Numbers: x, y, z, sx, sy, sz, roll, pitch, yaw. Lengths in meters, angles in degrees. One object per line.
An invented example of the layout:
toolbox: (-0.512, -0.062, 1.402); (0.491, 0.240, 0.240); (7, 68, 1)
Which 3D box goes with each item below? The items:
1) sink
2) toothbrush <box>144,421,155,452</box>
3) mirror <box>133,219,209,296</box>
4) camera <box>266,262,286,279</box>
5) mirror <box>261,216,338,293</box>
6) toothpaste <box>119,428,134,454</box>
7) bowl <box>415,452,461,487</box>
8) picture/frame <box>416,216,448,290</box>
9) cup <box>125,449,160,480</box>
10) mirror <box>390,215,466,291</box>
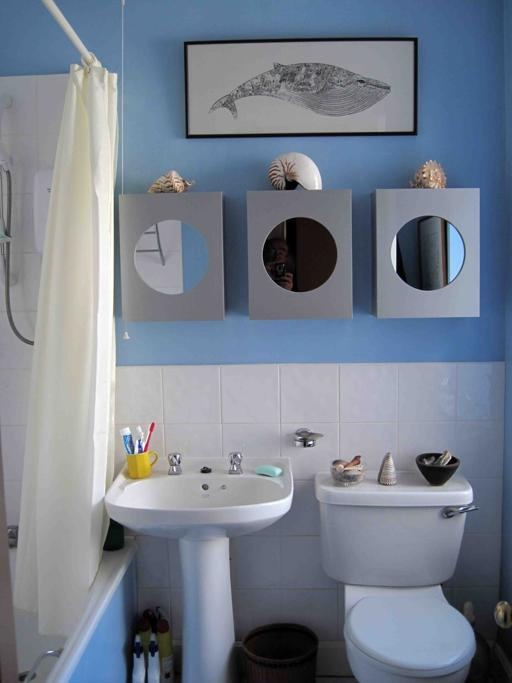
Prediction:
sink: (-0.160, 0.474, 1.858); (0.533, 0.181, 0.415); (-2, 1, 0)
toothbrush: (-0.339, 0.311, 2.022); (0.028, 0.094, 0.151); (-1, 0, -6)
mirror: (-0.255, -0.244, 1.878); (0.190, 0.232, 0.051); (6, 12, 13)
camera: (0.061, -0.208, 1.865); (0.063, 0.069, 0.038); (2, 14, 8)
mirror: (0.130, -0.254, 1.866); (0.214, 0.261, 0.007); (2, -25, 2)
toothpaste: (-0.397, 0.309, 1.971); (0.039, 0.081, 0.087); (-1, 0, -14)
bowl: (0.557, 0.378, 1.953); (0.094, 0.076, 0.102); (-1, 2, 0)
picture/frame: (0.521, -0.250, 1.883); (0.069, 0.218, 0.010); (-1, 26, 19)
cup: (-0.355, 0.387, 2.001); (0.065, 0.083, 0.102); (2, 2, 37)
mirror: (0.510, -0.255, 1.881); (0.202, 0.252, 0.007); (2, 36, 20)
